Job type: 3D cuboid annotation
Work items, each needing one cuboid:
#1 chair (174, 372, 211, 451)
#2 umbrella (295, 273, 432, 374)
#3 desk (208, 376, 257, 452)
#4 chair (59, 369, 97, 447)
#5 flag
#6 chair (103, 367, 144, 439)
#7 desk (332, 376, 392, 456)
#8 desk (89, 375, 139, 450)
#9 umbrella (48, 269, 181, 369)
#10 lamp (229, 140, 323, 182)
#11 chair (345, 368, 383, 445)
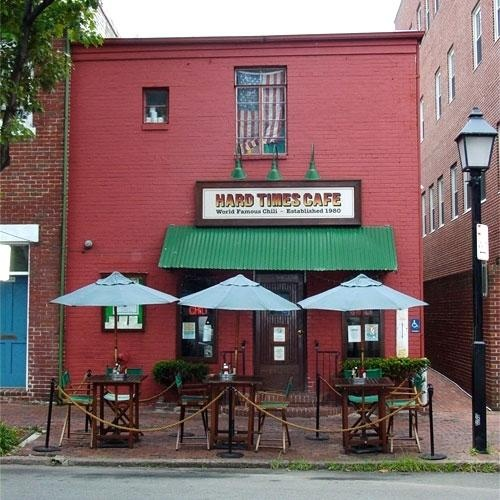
[{"bbox_3d":[-1.042,2.984,17.479,0.567,1.359,1.654,0,-4,-3],"label":"chair"},{"bbox_3d":[2.017,1.484,17.082,1.714,1.433,1.859,-1,4,1],"label":"umbrella"},{"bbox_3d":[-0.327,3.029,17.230,0.904,1.500,1.206,-1,-11,5],"label":"desk"},{"bbox_3d":[-3.145,2.866,17.257,0.668,1.212,0.623,4,3,-5],"label":"chair"},{"bbox_3d":[0.280,-3.221,21.501,1.221,2.443,0.095,-1,-21,2],"label":"flag"},{"bbox_3d":[-2.324,2.795,17.097,0.657,0.979,0.987,-2,-5,7],"label":"chair"},{"bbox_3d":[2.015,3.020,16.799,0.990,1.353,1.371,-1,-4,5],"label":"desk"},{"bbox_3d":[-2.431,2.913,17.170,0.747,1.084,1.531,-2,-5,-2],"label":"desk"},{"bbox_3d":[-2.449,1.157,17.316,1.707,1.405,1.820,0,-6,-9],"label":"umbrella"},{"bbox_3d":[0.634,-1.976,20.919,1.901,0.904,0.599,-1,-12,3],"label":"lamp"},{"bbox_3d":[2.079,2.953,17.058,0.729,1.163,1.582,-3,-6,6],"label":"chair"}]
